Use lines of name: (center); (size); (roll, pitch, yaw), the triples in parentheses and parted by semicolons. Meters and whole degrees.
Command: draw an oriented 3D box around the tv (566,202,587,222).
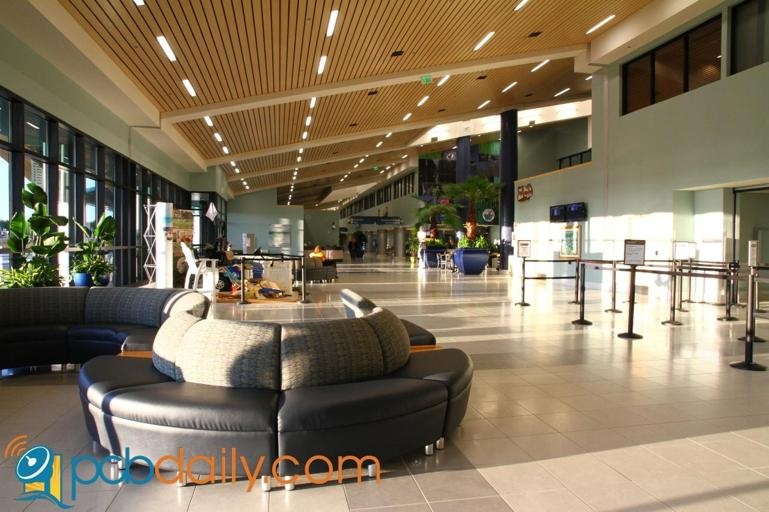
tv: (5.885, -1.369, 15.363); (0.521, 0.771, 0.951); (-1, 1, -3)
